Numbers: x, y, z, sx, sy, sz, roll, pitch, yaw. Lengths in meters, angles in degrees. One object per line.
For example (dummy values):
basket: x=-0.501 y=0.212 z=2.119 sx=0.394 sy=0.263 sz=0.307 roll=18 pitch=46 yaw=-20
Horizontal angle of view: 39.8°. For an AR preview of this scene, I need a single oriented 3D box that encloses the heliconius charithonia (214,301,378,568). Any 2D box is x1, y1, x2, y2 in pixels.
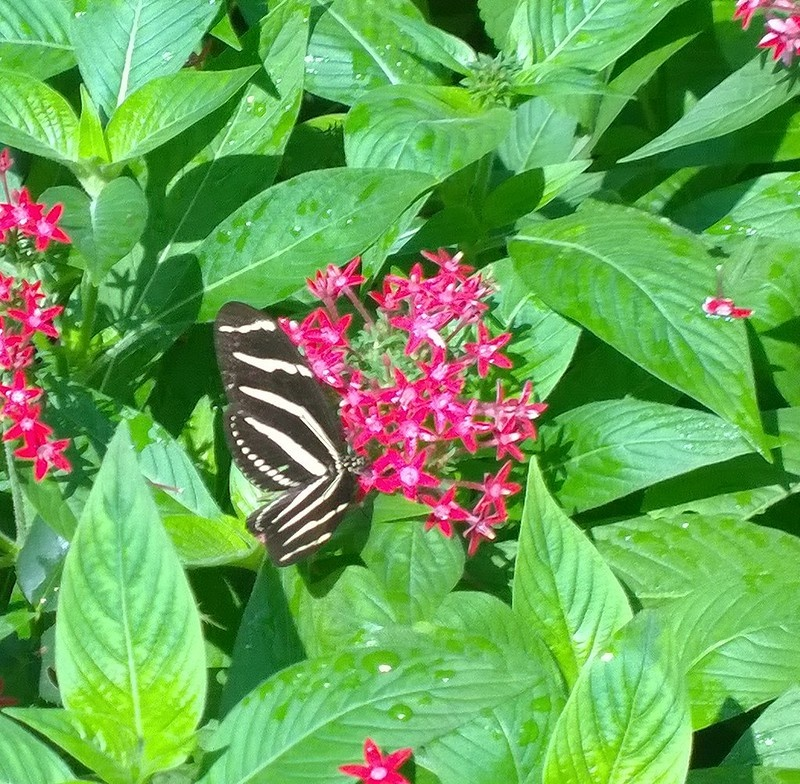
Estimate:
heliconius charithonia: x=-0.154 y=0.044 z=1.373 sx=0.163 sy=0.304 sz=0.188 roll=-23 pitch=22 yaw=-9
